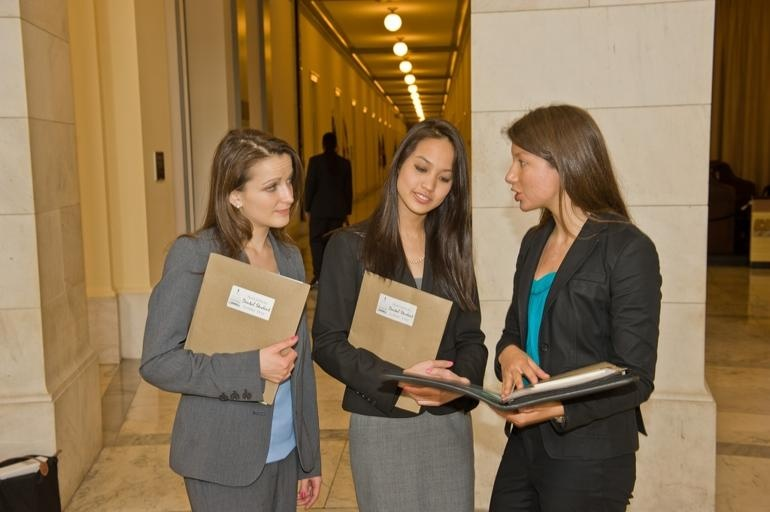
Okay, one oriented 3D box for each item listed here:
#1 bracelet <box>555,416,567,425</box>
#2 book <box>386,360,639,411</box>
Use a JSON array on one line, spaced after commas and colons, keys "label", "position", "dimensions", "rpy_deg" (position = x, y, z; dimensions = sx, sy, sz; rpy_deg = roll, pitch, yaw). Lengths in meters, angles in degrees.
[{"label": "bracelet", "position": [0.733, 0.684, 2.571], "dimensions": [0.044, 0.031, 0.044], "rpy_deg": [-10, 13, 14]}, {"label": "book", "position": [0.520, 0.508, 2.437], "dimensions": [0.899, 0.202, 0.153], "rpy_deg": [1, 12, 4]}]
